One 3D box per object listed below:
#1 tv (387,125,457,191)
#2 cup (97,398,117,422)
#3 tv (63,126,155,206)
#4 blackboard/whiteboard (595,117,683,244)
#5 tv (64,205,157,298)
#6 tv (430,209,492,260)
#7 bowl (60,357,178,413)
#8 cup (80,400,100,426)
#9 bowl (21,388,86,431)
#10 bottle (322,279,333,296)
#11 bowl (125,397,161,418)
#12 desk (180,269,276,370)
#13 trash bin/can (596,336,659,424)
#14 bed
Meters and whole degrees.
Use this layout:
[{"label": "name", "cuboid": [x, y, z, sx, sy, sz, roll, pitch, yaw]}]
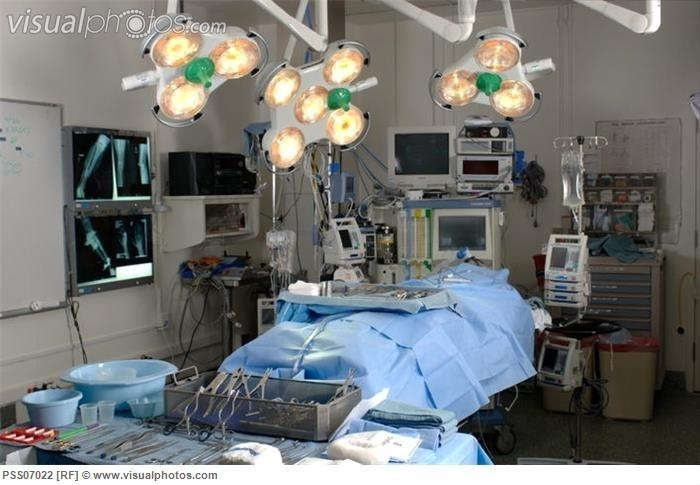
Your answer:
[{"label": "tv", "cuboid": [0.664, -0.748, 5.450, 0.647, 0.577, 0.398, -1, -8, 1]}, {"label": "cup", "cuboid": [-1.098, 0.748, 2.557, 0.079, 0.075, 0.075, 1, 0, 0]}, {"label": "tv", "cuboid": [-2.026, -0.625, 4.792, 0.100, 0.652, 0.918, 4, 7, 18]}, {"label": "blackboard/whiteboard", "cuboid": [2.983, -0.632, 5.859, 0.802, 1.244, 0.121, 3, 8, 15]}, {"label": "tv", "cuboid": [-2.042, 0.066, 4.758, 0.102, 0.599, 0.783, 0, 4, 32]}, {"label": "tv", "cuboid": [1.023, -0.095, 5.315, 0.711, 0.628, 0.394, 1, 3, 9]}, {"label": "bowl", "cuboid": [-1.105, 0.627, 2.759, 0.294, 0.118, 0.326, -1, -5, 19]}, {"label": "cup", "cuboid": [-1.151, 0.753, 2.518, 0.080, 0.073, 0.080, 2, 0, 0]}, {"label": "bowl", "cuboid": [-1.348, 0.738, 2.570, 0.270, 0.135, 0.271, -7, -19, -2]}, {"label": "bottle", "cuboid": [-0.163, 0.319, 3.954, 0.077, 0.090, 0.078, 0, -2, -6]}, {"label": "bowl", "cuboid": [-0.927, 0.749, 2.600, 0.083, 0.049, 0.121, -2, -6, 15]}, {"label": "desk", "cuboid": [-1.330, 0.769, 5.758, 0.666, 0.949, 0.927, 11, -10, 16]}, {"label": "trash bin/can", "cuboid": [2.401, 1.171, 4.942, 0.479, 0.675, 0.215, 2, 8, 8]}, {"label": "bed", "cuboid": [0.401, 0.610, 3.467, 1.053, 0.492, 1.489, 0, -1, 32]}]
